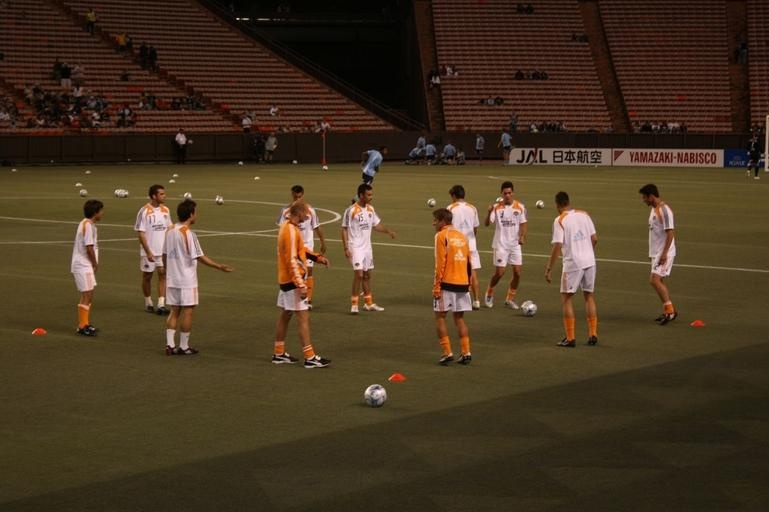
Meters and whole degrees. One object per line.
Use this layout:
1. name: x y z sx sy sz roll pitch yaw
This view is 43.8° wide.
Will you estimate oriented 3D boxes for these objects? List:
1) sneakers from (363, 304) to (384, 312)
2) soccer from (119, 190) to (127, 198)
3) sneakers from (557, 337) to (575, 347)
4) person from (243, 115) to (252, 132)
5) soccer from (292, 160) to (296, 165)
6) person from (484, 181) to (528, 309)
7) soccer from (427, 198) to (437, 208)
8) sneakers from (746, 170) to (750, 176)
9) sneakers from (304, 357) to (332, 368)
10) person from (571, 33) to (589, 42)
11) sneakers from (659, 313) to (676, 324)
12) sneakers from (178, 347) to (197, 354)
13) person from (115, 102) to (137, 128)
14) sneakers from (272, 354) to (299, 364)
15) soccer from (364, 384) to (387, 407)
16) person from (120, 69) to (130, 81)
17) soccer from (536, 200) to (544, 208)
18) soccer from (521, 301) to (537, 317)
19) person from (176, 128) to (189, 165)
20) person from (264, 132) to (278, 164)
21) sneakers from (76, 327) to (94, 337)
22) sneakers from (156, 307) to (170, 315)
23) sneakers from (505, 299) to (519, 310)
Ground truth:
1. sneakers: -0.224 1.040 19.547 0.407 0.155 0.154 2 8 0
2. soccer: -10.158 -2.374 37.121 0.422 0.287 0.609 -4 13 -16
3. sneakers: 3.232 1.483 16.997 0.334 0.175 0.274 4 14 15
4. person: -8.782 -8.394 61.209 0.595 0.949 1.466 -1 13 -2
5. soccer: -5.641 -5.871 60.252 0.293 0.205 0.436 0 -7 0
6. person: 2.509 -0.234 19.964 0.785 2.556 1.035 2 14 8
7. soccer: 1.838 -1.970 35.578 0.405 0.282 0.383 -7 12 -28
8. sneakers: 19.435 -4.401 51.157 0.179 0.171 0.684 35 14 13
9. sneakers: -1.114 1.751 15.923 0.468 0.194 0.174 -2 11 0
10. person: 14.940 -16.464 73.086 0.889 0.194 0.753 1 32 -2
11. sneakers: 5.391 1.188 18.338 0.402 0.170 0.139 -25 14 -26
12. sneakers: -3.385 1.600 16.536 0.348 0.132 0.119 0 6 -12
13. person: -15.723 -8.374 58.354 1.489 1.125 1.115 -8 15 -31
14. sneakers: -1.681 1.714 16.120 0.397 0.150 0.167 0 1 -4
15. soccer: -0.130 2.058 14.406 0.343 0.290 0.349 0 13 -2
16. person: -16.815 -11.604 62.019 0.827 0.602 1.064 -4 30 -10
17. soccer: 5.735 -1.934 35.352 0.345 0.253 0.355 -5 -4 43
18. soccer: 2.911 1.030 19.219 0.296 0.272 0.386 2 13 10
19. person: -12.051 -6.442 56.995 0.851 1.814 1.412 -3 14 -11
20. person: -7.010 -6.696 58.960 0.765 1.835 1.576 -2 13 -6
21. sneakers: -5.425 1.359 17.470 0.253 0.089 0.181 4 10 12
22. sneakers: -4.439 1.084 19.110 0.304 0.110 0.104 -3 13 -13
23. sneakers: 2.658 0.993 19.855 0.126 0.128 0.322 -9 8 -23
